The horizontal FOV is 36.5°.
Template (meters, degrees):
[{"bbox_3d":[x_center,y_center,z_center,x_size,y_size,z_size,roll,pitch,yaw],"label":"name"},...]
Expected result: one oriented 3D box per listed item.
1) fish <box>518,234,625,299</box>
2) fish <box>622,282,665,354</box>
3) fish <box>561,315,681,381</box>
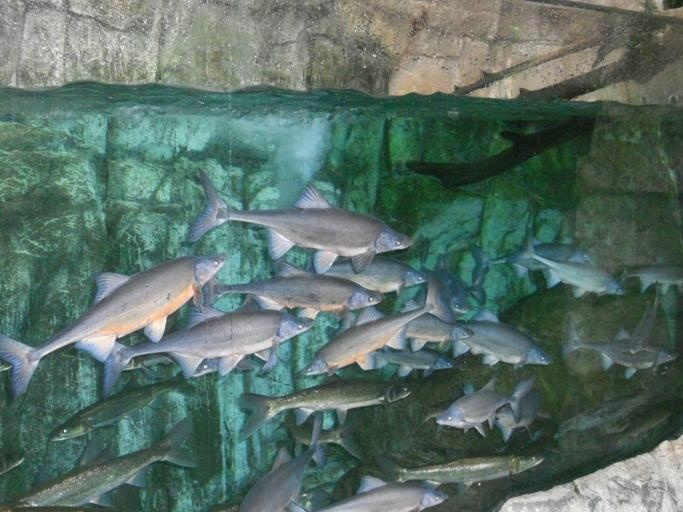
[{"bbox_3d":[2.841,0.127,12.581,1.210,0.502,0.259,30,10,20],"label":"fish"},{"bbox_3d":[3.695,0.828,12.616,0.147,0.679,0.338,17,-29,-3],"label":"fish"},{"bbox_3d":[3.419,1.135,12.610,1.461,0.709,0.275,17,-3,7],"label":"fish"}]
